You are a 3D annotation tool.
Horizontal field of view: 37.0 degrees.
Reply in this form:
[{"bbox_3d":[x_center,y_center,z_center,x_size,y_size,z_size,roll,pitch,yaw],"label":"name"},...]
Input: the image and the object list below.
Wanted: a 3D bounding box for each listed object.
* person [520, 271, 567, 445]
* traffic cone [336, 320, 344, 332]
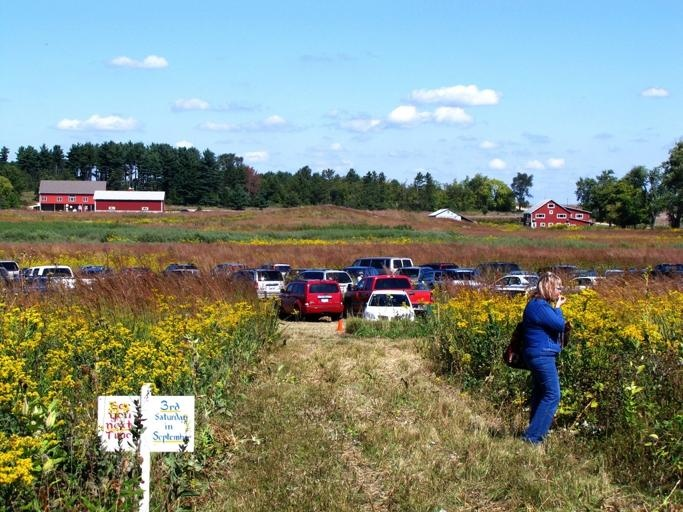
[{"bbox_3d":[2.996,1.543,15.207,0.650,2.488,0.811,3,11,2],"label":"person"},{"bbox_3d":[-0.010,1.703,24.865,0.221,0.292,0.208,7,8,43],"label":"traffic cone"}]
